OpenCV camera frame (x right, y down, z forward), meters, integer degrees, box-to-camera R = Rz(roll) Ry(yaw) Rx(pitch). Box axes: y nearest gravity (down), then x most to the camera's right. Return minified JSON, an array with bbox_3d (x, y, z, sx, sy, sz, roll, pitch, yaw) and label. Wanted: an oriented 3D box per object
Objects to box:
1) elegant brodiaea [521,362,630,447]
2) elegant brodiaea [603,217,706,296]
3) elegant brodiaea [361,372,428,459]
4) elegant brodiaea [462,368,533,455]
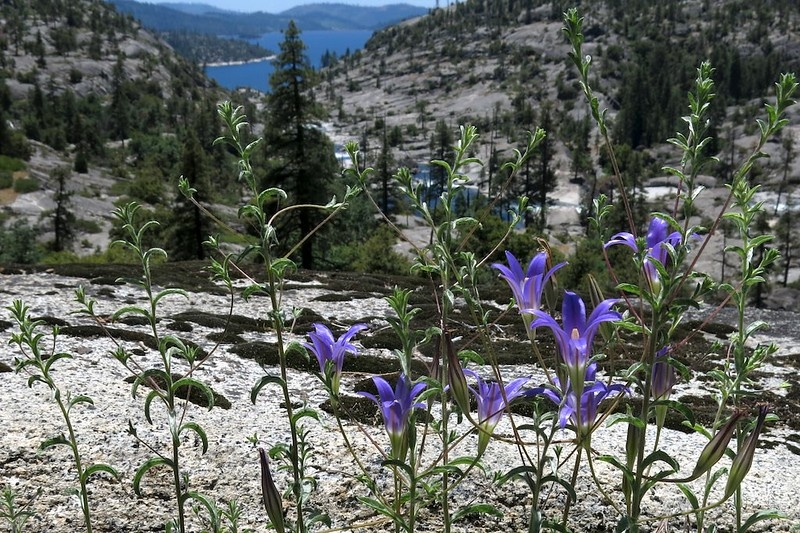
[{"bbox_3d":[41.588,31.873,261.156,18.506,11.867,17.998,-7,1,3],"label":"elegant brodiaea"},{"bbox_3d":[55.327,-3.964,259.627,13.368,14.249,3.360,5,11,10],"label":"elegant brodiaea"},{"bbox_3d":[-1.468,34.507,260.252,14.952,18.077,15.927,-9,21,-21],"label":"elegant brodiaea"},{"bbox_3d":[19.501,34.156,261.451,15.669,18.223,15.745,12,2,-21],"label":"elegant brodiaea"}]
